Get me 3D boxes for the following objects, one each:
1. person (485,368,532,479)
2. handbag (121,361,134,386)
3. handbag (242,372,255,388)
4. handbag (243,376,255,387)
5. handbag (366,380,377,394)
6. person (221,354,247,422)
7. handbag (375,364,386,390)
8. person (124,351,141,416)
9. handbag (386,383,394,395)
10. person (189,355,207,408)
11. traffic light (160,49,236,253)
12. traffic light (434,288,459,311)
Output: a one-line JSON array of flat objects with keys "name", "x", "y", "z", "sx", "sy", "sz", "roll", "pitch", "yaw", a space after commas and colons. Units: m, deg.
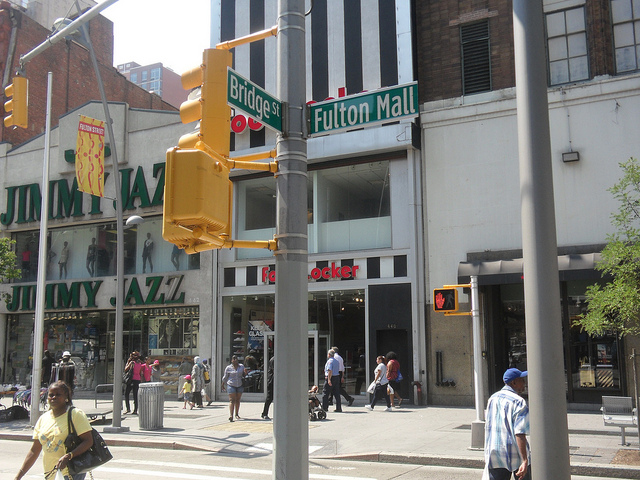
[{"name": "person", "x": 2.941, "y": 2.885, "z": 11.128, "sx": 0.805, "sy": 1.666, "sz": 0.562, "roll": -10, "pitch": -14, "yaw": 33}, {"name": "handbag", "x": -6.764, "y": 4.690, "z": 25.005, "sx": 0.239, "sy": 0.775, "sz": 0.775, "roll": 3, "pitch": -14, "yaw": -26}, {"name": "handbag", "x": -2.855, "y": 5.603, "z": 28.454, "sx": 0.430, "sy": 0.582, "sz": 0.577, "roll": -1, "pitch": -12, "yaw": -6}, {"name": "handbag", "x": -2.885, "y": 5.712, "z": 28.634, "sx": 0.545, "sy": 0.412, "sz": 0.333, "roll": 2, "pitch": 2, "yaw": -9}, {"name": "handbag", "x": 1.774, "y": 5.044, "z": 24.332, "sx": 0.087, "sy": 0.375, "sz": 0.271, "roll": 31, "pitch": -10, "yaw": -3}, {"name": "person", "x": -2.794, "y": 4.802, "z": 23.003, "sx": 0.619, "sy": 2.079, "sz": 1.472, "roll": -1, "pitch": -12, "yaw": -7}, {"name": "handbag", "x": 2.053, "y": 4.691, "z": 24.243, "sx": 0.261, "sy": 0.768, "sz": 0.553, "roll": 22, "pitch": -16, "yaw": -35}, {"name": "person", "x": -6.558, "y": 5.021, "z": 24.834, "sx": 0.523, "sy": 2.190, "sz": 1.216, "roll": 1, "pitch": -12, "yaw": -16}, {"name": "handbag", "x": 2.391, "y": 5.141, "z": 24.544, "sx": 0.245, "sy": 0.391, "sz": 0.777, "roll": -4, "pitch": -13, "yaw": 6}, {"name": "person", "x": -4.612, "y": 5.329, "z": 26.653, "sx": 0.612, "sy": 1.886, "sz": 1.117, "roll": -1, "pitch": -12, "yaw": -9}, {"name": "traffic light", "x": -1.695, "y": -1.365, "z": 10.000, "sx": 0.982, "sy": 3.030, "sz": 0.764, "roll": 0, "pitch": -12, "yaw": -13}, {"name": "traffic light", "x": 3.310, "y": 1.580, "z": 18.656, "sx": 0.761, "sy": 0.812, "sz": 0.485, "roll": -1, "pitch": -8, "yaw": 17}]
